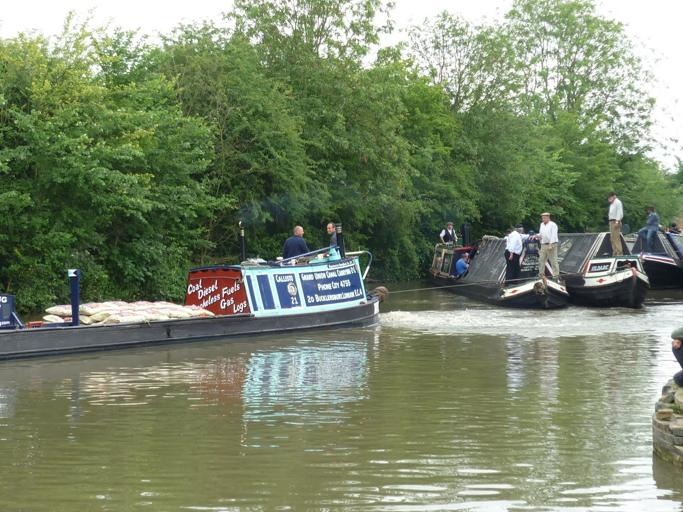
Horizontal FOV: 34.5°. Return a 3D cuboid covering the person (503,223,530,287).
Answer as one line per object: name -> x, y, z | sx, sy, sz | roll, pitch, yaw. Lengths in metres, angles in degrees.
person -> 5.849, -0.120, 37.476 | 0.706, 1.916, 1.021 | 5, 11, 25
